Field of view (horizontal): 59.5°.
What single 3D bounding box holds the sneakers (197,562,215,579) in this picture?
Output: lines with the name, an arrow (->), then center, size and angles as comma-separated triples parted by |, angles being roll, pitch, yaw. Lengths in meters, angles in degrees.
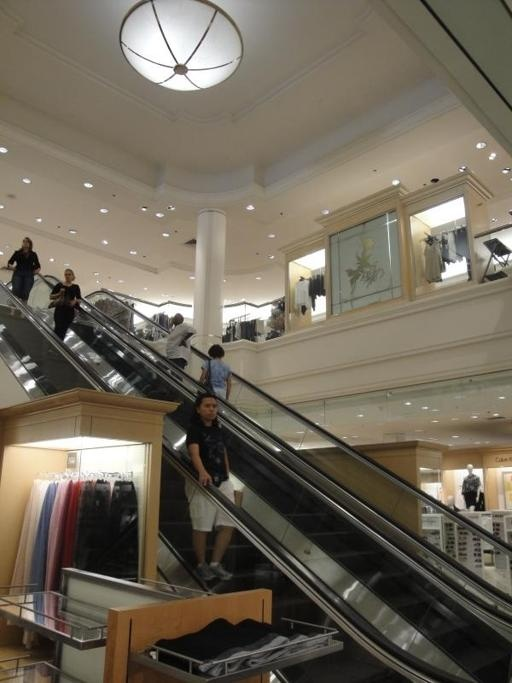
sneakers -> -0.320, 1.438, 2.828 | 0.048, 0.057, 0.125 | 9, -13, -33

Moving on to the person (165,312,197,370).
person -> -1.460, -0.043, 8.488 | 0.526, 1.196, 1.130 | 0, -9, -11

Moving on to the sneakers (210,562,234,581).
sneakers -> -0.228, 1.454, 2.872 | 0.160, 0.073, 0.072 | 3, -22, 36

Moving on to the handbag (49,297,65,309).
handbag -> -3.329, -0.645, 7.478 | 0.169, 0.175, 0.063 | 5, -3, -2

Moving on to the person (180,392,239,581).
person -> -0.356, 0.978, 3.357 | 0.378, 1.223, 0.945 | -2, -9, -4

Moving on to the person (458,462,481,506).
person -> 7.463, 5.053, 15.753 | 0.720, 1.519, 0.747 | 2, -10, -25

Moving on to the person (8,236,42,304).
person -> -4.435, -1.371, 8.497 | 0.534, 1.596, 1.403 | 3, -11, -28

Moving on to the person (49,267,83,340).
person -> -3.234, -0.644, 7.525 | 0.474, 1.356, 1.071 | 2, -10, -23
